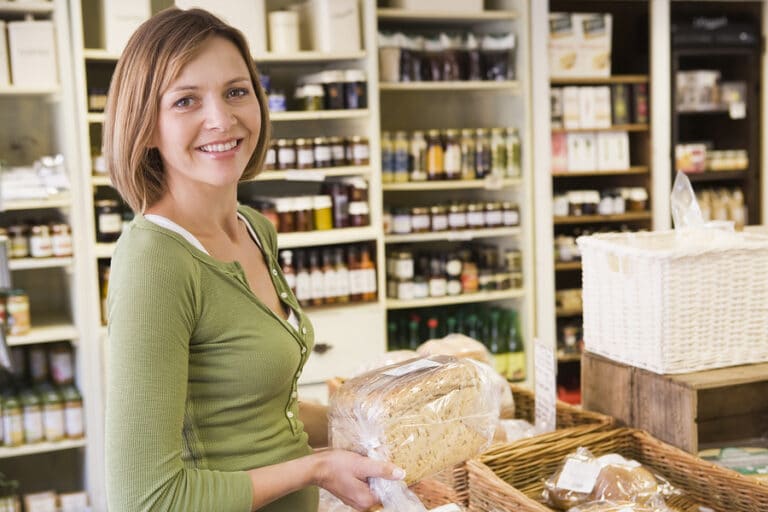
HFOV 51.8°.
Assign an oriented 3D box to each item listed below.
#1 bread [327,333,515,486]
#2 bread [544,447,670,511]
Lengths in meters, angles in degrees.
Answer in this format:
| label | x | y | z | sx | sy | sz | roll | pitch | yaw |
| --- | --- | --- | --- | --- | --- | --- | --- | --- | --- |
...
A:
| label | x | y | z | sx | sy | sz | roll | pitch | yaw |
| --- | --- | --- | --- | --- | --- | --- | --- | --- | --- |
| bread | 0.061 | 0.459 | 2.461 | 0.527 | 0.368 | 0.381 | -10 | 6 | -39 |
| bread | 0.682 | 0.697 | 2.437 | 0.235 | 0.088 | 0.216 | 0 | -4 | -16 |
